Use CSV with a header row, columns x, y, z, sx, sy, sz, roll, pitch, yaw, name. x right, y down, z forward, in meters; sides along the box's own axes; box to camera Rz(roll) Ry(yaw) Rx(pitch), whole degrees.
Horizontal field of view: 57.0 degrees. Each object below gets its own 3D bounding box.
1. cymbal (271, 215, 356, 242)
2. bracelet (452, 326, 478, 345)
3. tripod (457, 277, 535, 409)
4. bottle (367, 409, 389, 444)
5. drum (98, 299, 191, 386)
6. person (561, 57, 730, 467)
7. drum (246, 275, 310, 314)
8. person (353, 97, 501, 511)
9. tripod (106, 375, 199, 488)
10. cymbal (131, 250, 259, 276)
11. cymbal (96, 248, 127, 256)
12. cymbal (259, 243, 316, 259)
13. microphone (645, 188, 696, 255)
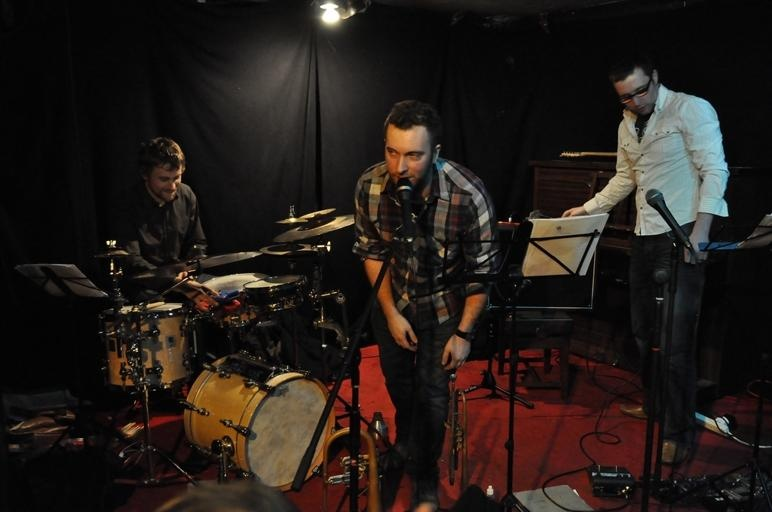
x,y,z,sx,sy,sz,roll,pitch,yaw,name
-0.546,-0.206,5.964,0.405,0.088,0.397,-15,10,10,cymbal
0.541,0.563,4.935,0.137,0.094,0.150,12,-6,13,bracelet
1.016,0.980,6.795,0.832,1.108,0.882,1,-1,1,tripod
-0.058,1.414,5.832,0.117,0.135,0.349,0,10,-10,bottle
-1.905,0.688,5.802,0.668,0.603,0.650,-1,2,-6,drum
2.216,0.070,5.876,0.672,3.184,1.019,-6,8,-38,person
-0.882,0.311,5.731,0.332,0.124,0.321,-4,8,1,drum
0.311,0.416,5.008,0.812,2.916,0.978,-4,7,-25,person
-1.822,1.336,5.925,0.791,1.014,0.781,-2,8,-28,tripod
-1.414,0.072,5.587,0.477,0.085,0.507,-2,5,36,cymbal
-2.055,-0.012,5.377,0.211,0.073,0.239,-2,5,-13,cymbal
-0.807,-0.037,6.009,0.448,0.117,0.302,-1,5,0,cymbal
2.166,-0.270,5.401,0.146,0.591,0.152,-41,6,12,microphone
